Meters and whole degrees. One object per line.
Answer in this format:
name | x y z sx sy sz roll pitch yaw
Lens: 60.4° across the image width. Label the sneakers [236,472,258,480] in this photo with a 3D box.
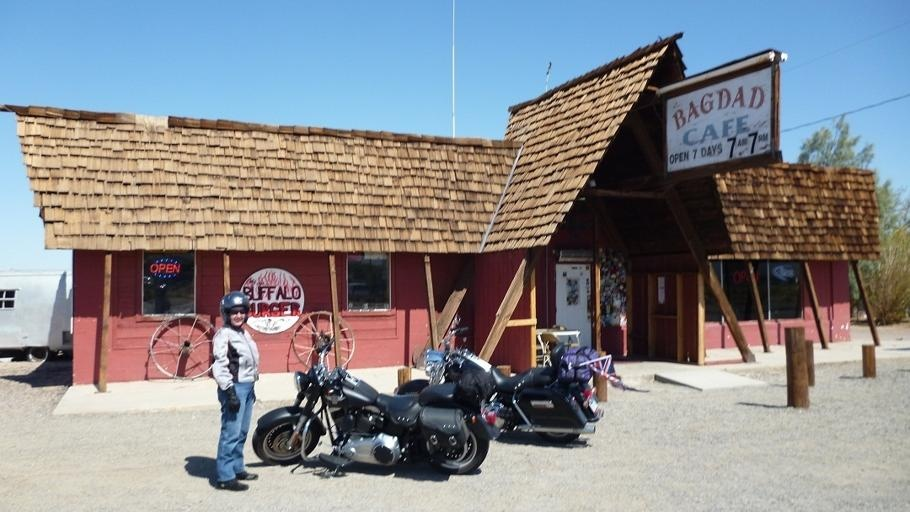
sneakers | -4.190 4.471 15.934 0.437 0.186 0.158 -1 1 -7
